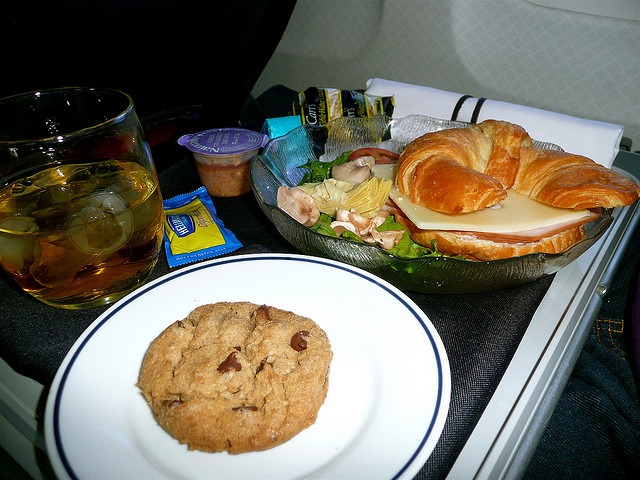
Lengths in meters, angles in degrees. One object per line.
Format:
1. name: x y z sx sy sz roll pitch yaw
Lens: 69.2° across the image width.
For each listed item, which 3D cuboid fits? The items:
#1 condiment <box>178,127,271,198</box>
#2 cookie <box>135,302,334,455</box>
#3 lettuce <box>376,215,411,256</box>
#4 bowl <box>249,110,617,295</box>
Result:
1. condiment: -0.249 -0.208 1.174 0.222 0.120 0.177 4 35 1
2. cookie: -0.138 0.203 0.794 0.301 0.077 0.325 21 39 18
3. lettuce: 0.166 -0.013 1.036 0.077 0.025 0.075 5 66 -8
4. bowl: 0.180 -0.117 1.075 0.659 0.200 0.643 0 47 0
